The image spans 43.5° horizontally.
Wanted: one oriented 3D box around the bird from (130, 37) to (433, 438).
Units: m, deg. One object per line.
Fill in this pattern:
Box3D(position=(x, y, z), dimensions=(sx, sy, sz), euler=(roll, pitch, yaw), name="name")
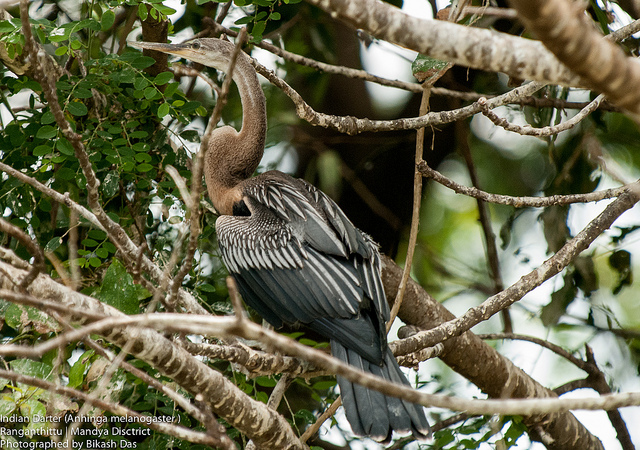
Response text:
Box3D(position=(-0.049, -0.035, 4.265), dimensions=(2.120, 0.765, 1.517), euler=(25, -63, 36), name="bird")
